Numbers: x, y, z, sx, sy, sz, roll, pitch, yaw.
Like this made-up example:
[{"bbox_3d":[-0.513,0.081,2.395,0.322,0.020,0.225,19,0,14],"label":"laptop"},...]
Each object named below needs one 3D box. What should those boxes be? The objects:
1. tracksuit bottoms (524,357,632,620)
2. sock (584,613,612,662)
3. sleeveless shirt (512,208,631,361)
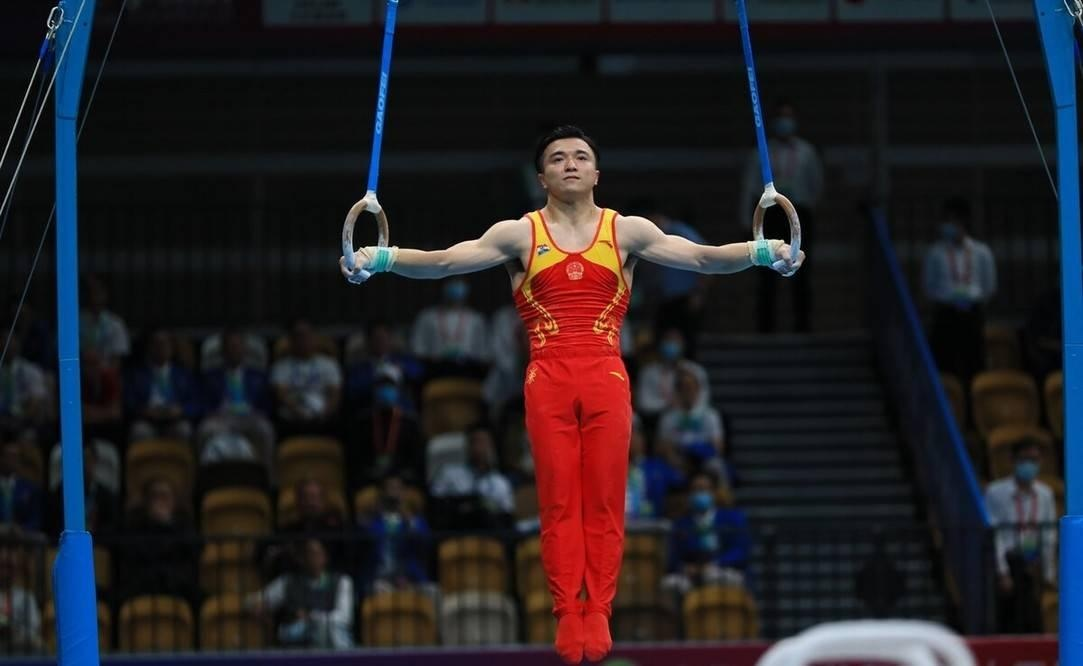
[{"bbox_3d":[0.386,1.532,23.496,1.053,2.502,0.862,-2,-21,-1],"label":"tracksuit bottoms"},{"bbox_3d":[0.525,3.062,23.411,0.270,0.479,0.157,-2,1,-9],"label":"sock"},{"bbox_3d":[0.301,-0.528,23.654,1.382,1.937,0.934,0,-11,-6],"label":"sleeveless shirt"}]
